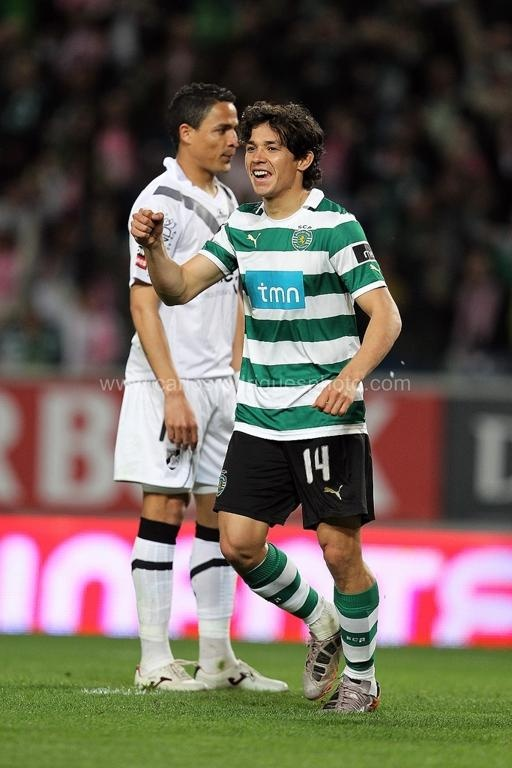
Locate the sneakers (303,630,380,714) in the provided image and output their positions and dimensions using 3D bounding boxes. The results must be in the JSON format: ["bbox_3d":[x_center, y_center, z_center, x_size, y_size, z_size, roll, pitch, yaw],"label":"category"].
[{"bbox_3d":[0.236,0.847,2.580,0.120,0.332,0.136,-3,81,9],"label":"sneakers"}]
